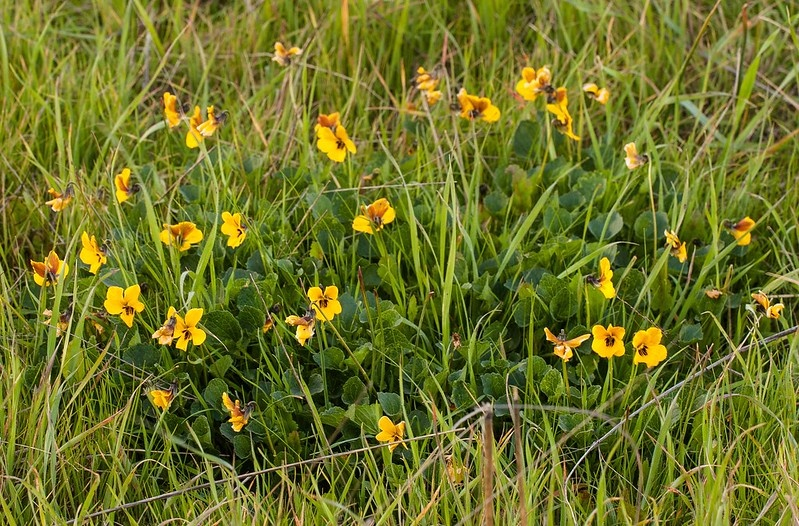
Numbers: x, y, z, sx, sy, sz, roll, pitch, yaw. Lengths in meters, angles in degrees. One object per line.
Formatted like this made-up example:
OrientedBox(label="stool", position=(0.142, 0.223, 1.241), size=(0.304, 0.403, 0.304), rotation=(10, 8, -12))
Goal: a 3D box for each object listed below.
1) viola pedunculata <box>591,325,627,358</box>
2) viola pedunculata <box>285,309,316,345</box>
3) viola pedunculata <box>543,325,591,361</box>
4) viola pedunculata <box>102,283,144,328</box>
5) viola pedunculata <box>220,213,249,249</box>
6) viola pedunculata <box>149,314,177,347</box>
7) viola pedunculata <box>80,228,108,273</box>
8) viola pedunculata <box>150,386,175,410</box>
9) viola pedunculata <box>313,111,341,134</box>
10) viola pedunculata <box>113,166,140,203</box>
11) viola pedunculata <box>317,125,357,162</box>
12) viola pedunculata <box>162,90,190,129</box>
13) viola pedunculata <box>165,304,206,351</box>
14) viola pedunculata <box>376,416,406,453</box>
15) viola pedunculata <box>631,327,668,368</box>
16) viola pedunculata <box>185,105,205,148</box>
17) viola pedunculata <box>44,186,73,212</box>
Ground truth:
OrientedBox(label="viola pedunculata", position=(0.815, 0.273, 3.273), size=(0.148, 0.048, 0.157), rotation=(37, 4, 12))
OrientedBox(label="viola pedunculata", position=(-0.372, 0.247, 3.286), size=(0.049, 0.129, 0.131), rotation=(-23, 80, -37))
OrientedBox(label="viola pedunculata", position=(0.609, 0.302, 3.171), size=(0.186, 0.130, 0.149), rotation=(10, 11, 0))
OrientedBox(label="viola pedunculata", position=(-1.058, 0.168, 3.338), size=(0.162, 0.219, 0.067), rotation=(18, 54, 1))
OrientedBox(label="viola pedunculata", position=(-0.668, -0.142, 3.516), size=(0.113, 0.059, 0.140), rotation=(14, 69, 50))
OrientedBox(label="viola pedunculata", position=(-0.896, 0.268, 3.249), size=(0.086, 0.128, 0.045), rotation=(33, 21, 0))
OrientedBox(label="viola pedunculata", position=(-1.257, -0.036, 3.498), size=(0.069, 0.144, 0.166), rotation=(-10, 64, -35))
OrientedBox(label="viola pedunculata", position=(-0.912, 0.493, 3.279), size=(0.079, 0.100, 0.045), rotation=(-24, -1, 17))
OrientedBox(label="viola pedunculata", position=(-0.306, -0.594, 3.651), size=(0.113, 0.071, 0.133), rotation=(-10, 48, -17))
OrientedBox(label="viola pedunculata", position=(-1.203, -0.347, 3.768), size=(0.071, 0.195, 0.159), rotation=(-5, 7, -28))
OrientedBox(label="viola pedunculata", position=(-0.271, -0.496, 3.603), size=(0.140, 0.163, 0.183), rotation=(-10, 36, -9))
OrientedBox(label="viola pedunculata", position=(-0.949, -0.663, 3.644), size=(0.062, 0.144, 0.156), rotation=(-9, 49, -1))
OrientedBox(label="viola pedunculata", position=(-0.812, 0.246, 3.256), size=(0.110, 0.131, 0.037), rotation=(-33, 52, 4))
OrientedBox(label="viola pedunculata", position=(-0.026, 0.635, 3.200), size=(0.121, 0.046, 0.130), rotation=(-32, 45, -6))
OrientedBox(label="viola pedunculata", position=(0.952, 0.299, 3.285), size=(0.127, 0.079, 0.138), rotation=(25, 6, -42))
OrientedBox(label="viola pedunculata", position=(-0.851, -0.611, 3.609), size=(0.058, 0.107, 0.239), rotation=(2, 74, -12))
OrientedBox(label="viola pedunculata", position=(-1.507, -0.284, 3.777), size=(0.079, 0.104, 0.096), rotation=(-25, -13, 19))
